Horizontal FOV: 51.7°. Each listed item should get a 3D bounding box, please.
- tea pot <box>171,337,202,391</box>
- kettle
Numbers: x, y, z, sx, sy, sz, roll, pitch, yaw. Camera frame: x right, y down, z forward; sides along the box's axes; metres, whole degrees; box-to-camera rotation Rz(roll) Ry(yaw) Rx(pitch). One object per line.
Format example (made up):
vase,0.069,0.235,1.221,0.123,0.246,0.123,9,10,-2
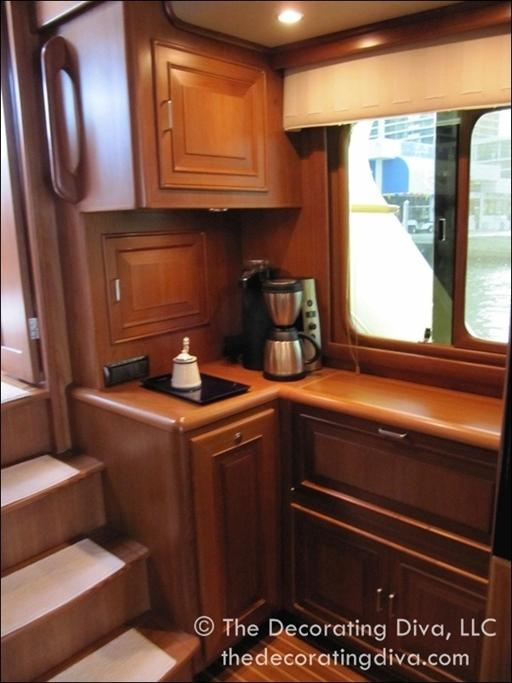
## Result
tea pot,-0.176,0.074,1.560,0.079,0.132,0.147,0,5,-2
kettle,0.117,-0.037,1.624,0.194,0.301,0.119,-4,13,-14
